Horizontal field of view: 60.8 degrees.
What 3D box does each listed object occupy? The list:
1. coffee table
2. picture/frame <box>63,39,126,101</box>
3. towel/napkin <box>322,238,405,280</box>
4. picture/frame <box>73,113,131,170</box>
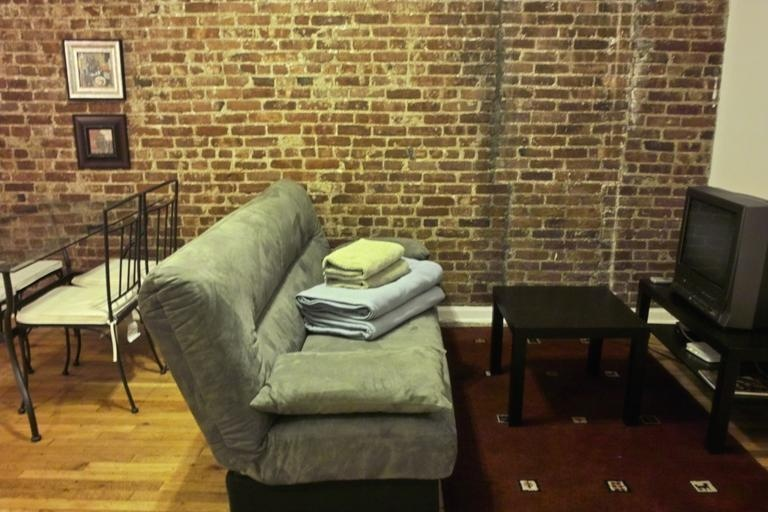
[{"bbox_3d":[1.118,0.525,3.997,0.855,0.611,0.830,0,12,1],"label":"coffee table"},{"bbox_3d":[-2.032,-1.333,4.635,0.424,0.408,0.030,0,11,-2],"label":"picture/frame"},{"bbox_3d":[-0.089,-0.014,3.929,0.264,0.114,0.343,3,12,24],"label":"towel/napkin"},{"bbox_3d":[-2.029,-0.840,4.737,0.388,0.390,0.028,0,14,-3],"label":"picture/frame"}]
